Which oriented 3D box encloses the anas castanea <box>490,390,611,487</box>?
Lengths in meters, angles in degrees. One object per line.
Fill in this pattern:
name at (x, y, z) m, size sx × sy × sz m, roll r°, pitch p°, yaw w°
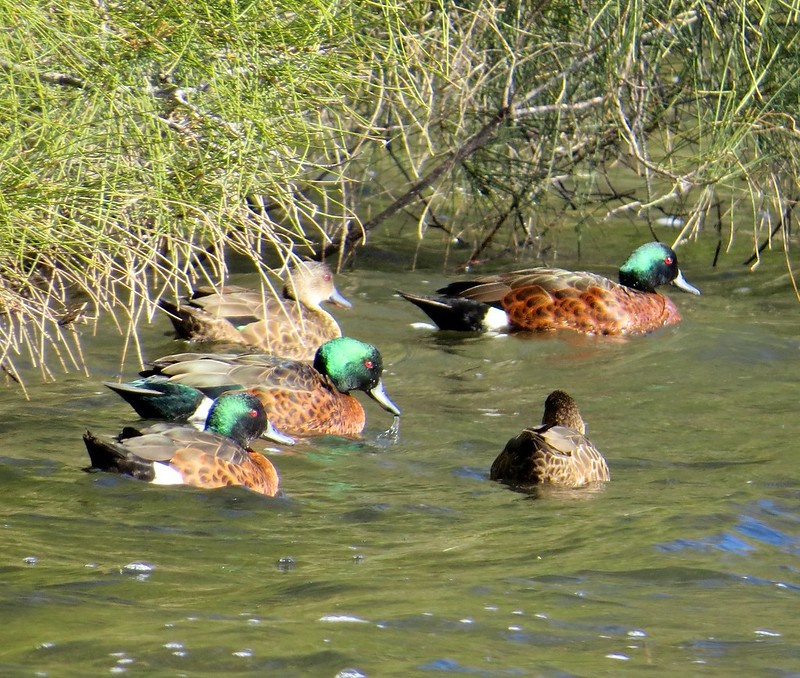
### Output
anas castanea at (1.100, 0.682, 6.668) m, size 0.722 × 0.543 × 0.877 m, roll 14°, pitch 15°, yaw 33°
